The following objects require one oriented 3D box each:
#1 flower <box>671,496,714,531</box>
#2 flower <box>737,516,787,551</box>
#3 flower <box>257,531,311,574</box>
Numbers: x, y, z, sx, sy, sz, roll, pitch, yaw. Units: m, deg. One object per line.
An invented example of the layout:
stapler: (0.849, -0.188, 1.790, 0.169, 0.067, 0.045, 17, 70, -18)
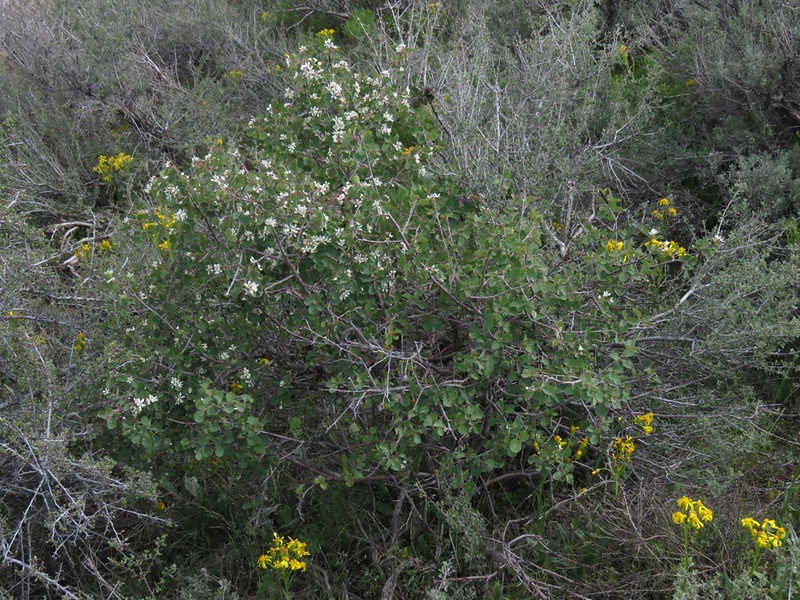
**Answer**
flower: (1.310, 0.977, 2.923, 0.175, 0.235, 0.120, 4, 58, 6)
flower: (1.698, 1.102, 3.022, 0.163, 0.093, 0.161, -29, 31, -31)
flower: (-0.564, 1.227, 3.118, 0.238, 0.213, 0.246, 5, 34, -9)
